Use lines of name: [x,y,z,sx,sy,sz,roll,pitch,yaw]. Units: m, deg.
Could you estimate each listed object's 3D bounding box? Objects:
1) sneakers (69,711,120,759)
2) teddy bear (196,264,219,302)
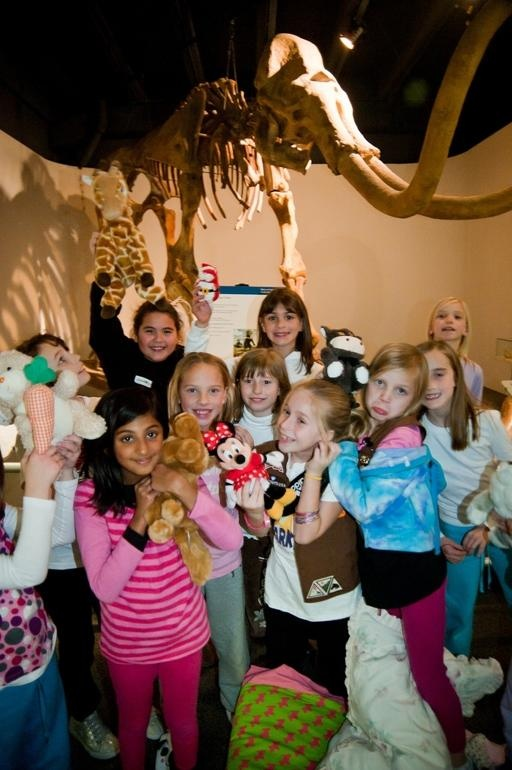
sneakers: [-0.617,1.259,2.047,0.239,0.113,0.104,3,-8,31]
teddy bear: [-0.242,-0.501,2.702,0.118,0.188,0.078,-5,-23,-20]
